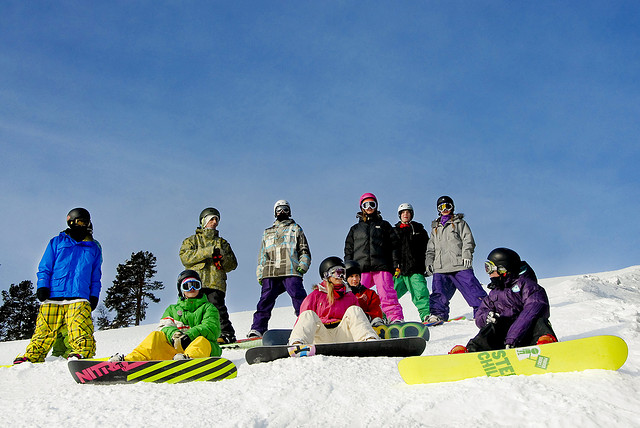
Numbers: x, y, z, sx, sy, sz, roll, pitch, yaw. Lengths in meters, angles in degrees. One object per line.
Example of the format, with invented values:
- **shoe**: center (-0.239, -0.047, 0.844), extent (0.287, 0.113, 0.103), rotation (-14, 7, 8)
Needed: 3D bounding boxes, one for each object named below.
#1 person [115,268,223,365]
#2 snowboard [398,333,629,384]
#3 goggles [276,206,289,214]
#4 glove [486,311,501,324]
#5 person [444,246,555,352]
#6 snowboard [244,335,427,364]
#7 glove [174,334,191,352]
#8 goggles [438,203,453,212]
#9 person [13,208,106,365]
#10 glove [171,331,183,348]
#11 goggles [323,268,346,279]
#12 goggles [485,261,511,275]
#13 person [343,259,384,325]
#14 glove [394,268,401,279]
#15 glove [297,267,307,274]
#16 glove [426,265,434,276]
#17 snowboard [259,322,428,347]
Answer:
- **person**: center (-1.935, 1.382, 7.644), extent (0.903, 1.421, 1.826), rotation (-5, -13, 8)
- **snowboard**: center (2.215, 1.666, 6.512), extent (2.053, 0.142, 0.513), rotation (-4, 29, 9)
- **goggles**: center (-0.705, -0.091, 10.485), extent (0.230, 0.120, 0.074), rotation (-6, 11, -16)
- **glove**: center (2.263, 1.350, 7.447), extent (0.165, 0.118, 0.159), rotation (1, 11, 16)
- **person**: center (2.287, 1.132, 7.457), extent (1.111, 1.462, 1.511), rotation (-8, -8, 22)
- **snowboard**: center (0.222, 1.732, 7.273), extent (1.611, 0.219, 0.435), rotation (1, -9, -10)
- **glove**: center (-1.829, 1.678, 7.543), extent (0.207, 0.224, 0.163), rotation (15, 2, -38)
- **goggles**: center (2.452, -0.147, 11.282), extent (0.161, 0.199, 0.102), rotation (0, 2, 13)
- **person**: center (-3.794, 1.014, 8.362), extent (1.024, 1.969, 1.376), rotation (-2, 10, 1)
- **glove**: center (-1.895, 1.657, 7.537), extent (0.150, 0.177, 0.174), rotation (0, 36, -14)
- **goggles**: center (0.216, 0.863, 8.311), extent (0.193, 0.113, 0.161), rotation (-13, -9, 3)
- **goggles**: center (2.369, 0.719, 7.632), extent (0.327, 0.152, 0.120), rotation (2, 11, 21)
- **person**: center (0.567, 1.164, 8.788), extent (0.875, 0.729, 1.279), rotation (5, -13, -2)
- **glove**: center (1.426, 1.097, 10.570), extent (0.090, 0.168, 0.039), rotation (6, -8, 30)
- **glove**: center (-0.342, 0.959, 9.875), extent (0.128, 0.103, 0.035), rotation (-3, 10, -2)
- **glove**: center (2.160, 1.105, 11.272), extent (0.092, 0.231, 0.279), rotation (-3, 11, -3)
- **snowboard**: center (0.375, 1.632, 7.711), extent (1.636, 0.260, 0.465), rotation (1, -21, -4)
